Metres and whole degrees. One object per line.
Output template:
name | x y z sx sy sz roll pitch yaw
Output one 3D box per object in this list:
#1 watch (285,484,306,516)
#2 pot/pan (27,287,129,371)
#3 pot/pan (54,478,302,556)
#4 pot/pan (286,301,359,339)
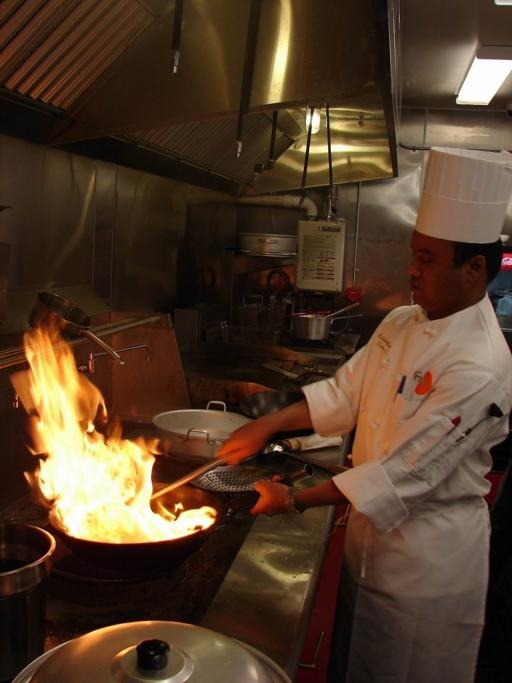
watch | 0.078 0.315 1.085 0.036 0.053 0.055 1 -15 3
pot/pan | -0.438 -0.023 1.387 0.235 0.072 0.124 35 9 -32
pot/pan | -0.126 0.315 0.980 0.301 0.039 0.174 0 -1 -25
pot/pan | 0.465 -0.145 3.773 0.486 0.286 0.259 3 3 4
